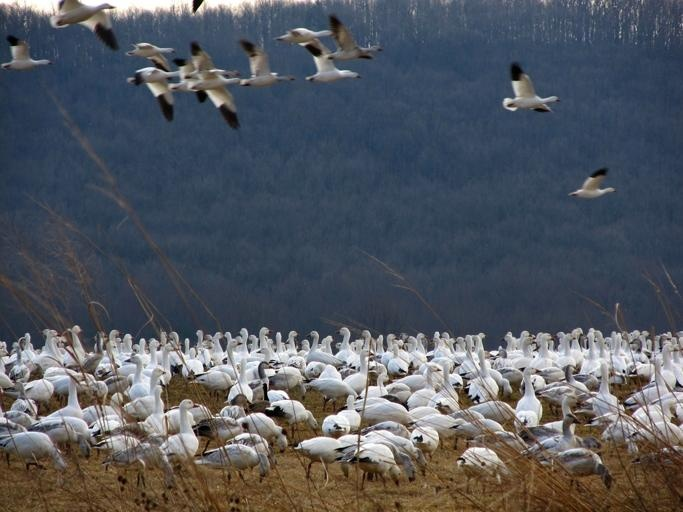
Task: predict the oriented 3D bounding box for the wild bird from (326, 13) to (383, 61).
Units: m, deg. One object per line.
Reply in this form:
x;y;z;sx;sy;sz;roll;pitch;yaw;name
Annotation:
0.148;-3.818;18.565;0.722;0.879;1.318;-2;21;-1;wild bird

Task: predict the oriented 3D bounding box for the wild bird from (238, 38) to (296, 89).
-1.474;-3.451;19.180;0.663;0.928;1.114;-3;20;-5;wild bird

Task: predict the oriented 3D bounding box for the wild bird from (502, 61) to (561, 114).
3.460;-3.126;19.775;0.803;1.193;2.146;2;21;9;wild bird
